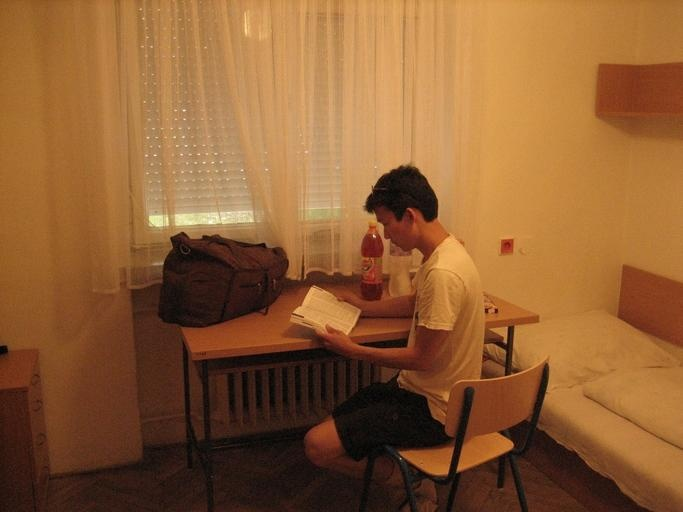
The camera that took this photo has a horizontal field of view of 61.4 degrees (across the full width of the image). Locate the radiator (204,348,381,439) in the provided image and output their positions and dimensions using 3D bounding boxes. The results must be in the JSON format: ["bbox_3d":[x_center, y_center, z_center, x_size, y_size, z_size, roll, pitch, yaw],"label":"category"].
[{"bbox_3d":[-0.315,0.711,3.223,0.897,0.476,0.243,-2,0,-18],"label":"radiator"}]

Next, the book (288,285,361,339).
[{"bbox_3d":[-0.060,0.253,2.590,0.224,0.075,0.242,24,31,8],"label":"book"}]

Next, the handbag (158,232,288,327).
[{"bbox_3d":[-0.558,0.063,2.730,0.511,0.327,0.411,-7,18,-40],"label":"handbag"}]

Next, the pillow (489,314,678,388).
[{"bbox_3d":[1.392,0.496,3.267,0.588,0.146,0.481,-2,19,-19],"label":"pillow"}]

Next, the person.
[{"bbox_3d":[0.267,0.269,3.314,1.129,2.206,1.065,0,2,6],"label":"person"}]
